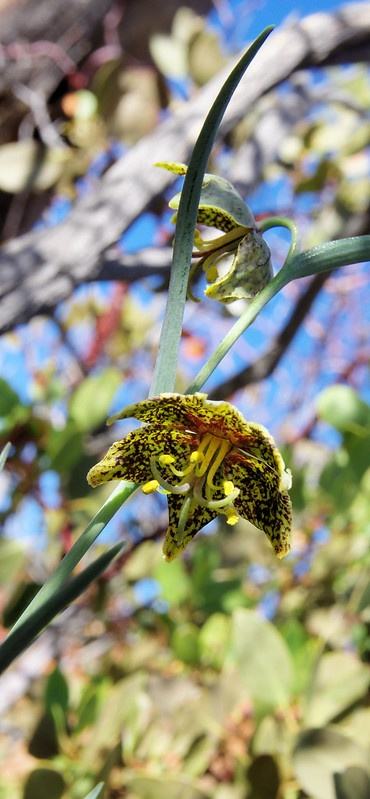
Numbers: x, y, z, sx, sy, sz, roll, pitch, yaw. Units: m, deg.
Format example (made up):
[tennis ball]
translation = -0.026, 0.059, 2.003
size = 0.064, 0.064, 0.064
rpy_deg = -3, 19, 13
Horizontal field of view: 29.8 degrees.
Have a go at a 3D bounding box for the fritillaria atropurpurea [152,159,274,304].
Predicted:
[fritillaria atropurpurea]
translation = 0.041, -0.193, 0.814
size = 0.118, 0.123, 0.161
rpy_deg = -11, 49, -11
